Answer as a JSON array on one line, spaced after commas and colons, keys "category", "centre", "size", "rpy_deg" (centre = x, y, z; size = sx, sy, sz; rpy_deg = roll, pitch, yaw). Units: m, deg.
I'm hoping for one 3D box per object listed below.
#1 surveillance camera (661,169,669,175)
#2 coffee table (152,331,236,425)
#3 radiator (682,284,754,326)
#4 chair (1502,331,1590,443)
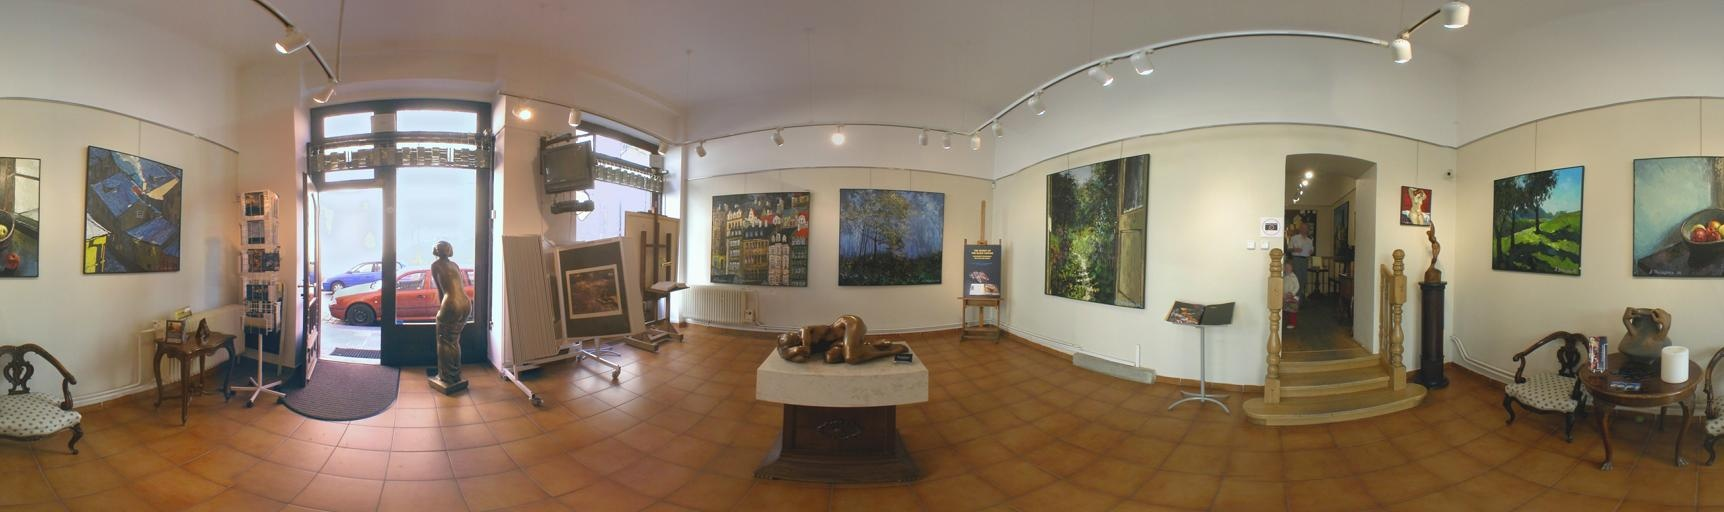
[{"category": "surveillance camera", "centre": [-5.752, -2.401, 22.609], "size": [0.217, 0.032, 0.183], "rpy_deg": [-1, 6, 17]}, {"category": "coffee table", "centre": [-17.680, 3.147, 20.708], "size": [1.670, 2.436, 0.866], "rpy_deg": [-1, 1, -31]}, {"category": "radiator", "centre": [-4.091, 1.414, 22.553], "size": [2.061, 0.686, 0.231], "rpy_deg": [1, 3, 11]}, {"category": "chair", "centre": [18.047, 3.408, 20.718], "size": [1.875, 2.728, 0.992], "rpy_deg": [0, 1, 23]}]
